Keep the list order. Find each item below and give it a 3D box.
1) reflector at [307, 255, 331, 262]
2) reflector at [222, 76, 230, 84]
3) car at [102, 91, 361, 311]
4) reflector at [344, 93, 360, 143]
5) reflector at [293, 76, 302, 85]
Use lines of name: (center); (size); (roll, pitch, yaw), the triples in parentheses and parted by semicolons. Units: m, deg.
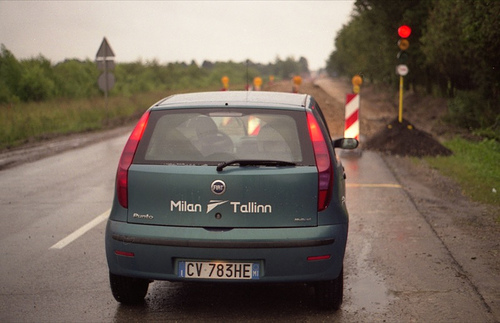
reflector: (0.772, 1.091, 5.313); (0.282, 0.076, 0.011); (-3, 12, -11)
reflector: (-2.169, -6.954, 39.859); (0.940, 0.713, 1.316); (-1, 6, 2)
car: (-0.221, 0.533, 5.700); (2.721, 2.543, 1.380); (3, 12, 12)
reflector: (3.502, -1.528, 16.143); (0.464, 1.581, 1.088); (2, 12, 10)
reflector: (3.615, -6.215, 35.830); (0.691, 0.506, 1.142); (0, 7, 1)
